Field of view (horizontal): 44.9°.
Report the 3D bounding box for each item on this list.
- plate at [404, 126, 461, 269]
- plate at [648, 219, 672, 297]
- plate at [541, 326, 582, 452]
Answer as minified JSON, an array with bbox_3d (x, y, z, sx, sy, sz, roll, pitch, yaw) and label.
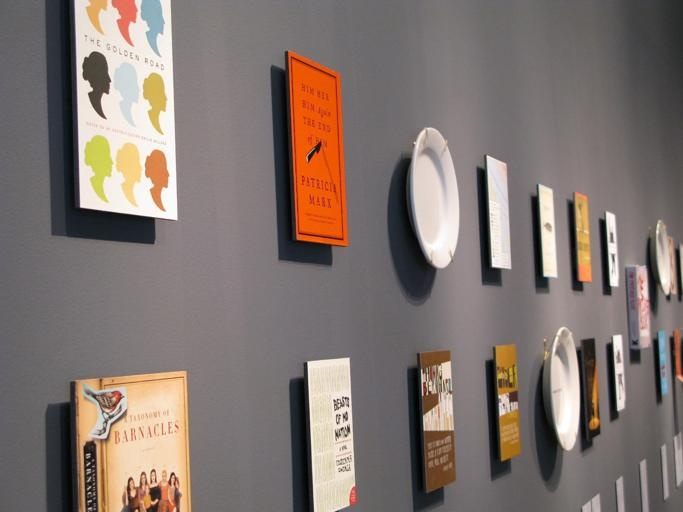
[{"bbox_3d":[0.292,-0.183,2.755,0.046,0.528,0.408,-3,-2,27],"label":"plate"},{"bbox_3d":[1.835,0.020,4.807,0.032,0.425,0.351,-5,-10,27],"label":"plate"},{"bbox_3d":[0.889,0.553,3.394,0.060,0.601,0.433,-3,-4,29],"label":"plate"}]
